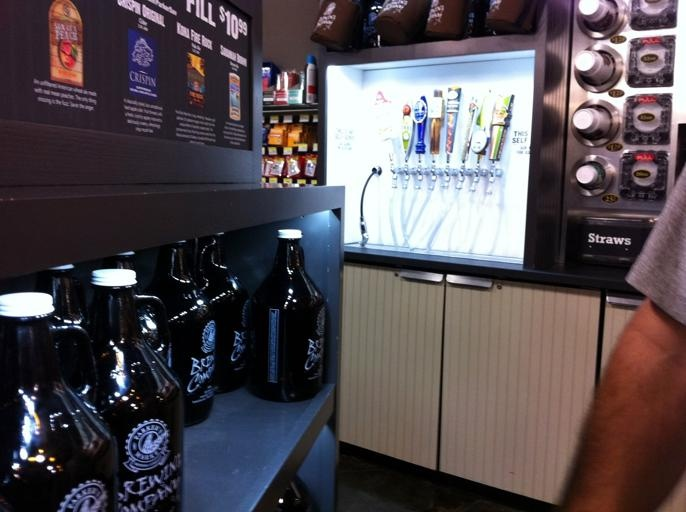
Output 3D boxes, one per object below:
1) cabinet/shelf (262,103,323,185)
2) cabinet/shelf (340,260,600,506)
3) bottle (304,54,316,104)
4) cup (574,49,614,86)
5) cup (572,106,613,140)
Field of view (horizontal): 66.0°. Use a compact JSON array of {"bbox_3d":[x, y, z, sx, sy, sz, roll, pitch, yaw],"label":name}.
[{"bbox_3d":[-0.396,-0.734,3.880,0.429,0.260,0.802,-1,57,-4],"label":"cabinet/shelf"},{"bbox_3d":[0.571,0.527,2.276,0.962,0.875,0.357,5,3,30],"label":"cabinet/shelf"},{"bbox_3d":[-0.200,-1.081,3.240,0.079,0.291,0.191,-3,10,-6],"label":"bottle"},{"bbox_3d":[1.101,-0.809,2.347,0.152,0.164,0.145,-8,2,0],"label":"cup"},{"bbox_3d":[1.120,-0.594,2.359,0.163,0.154,0.129,3,11,26],"label":"cup"}]
